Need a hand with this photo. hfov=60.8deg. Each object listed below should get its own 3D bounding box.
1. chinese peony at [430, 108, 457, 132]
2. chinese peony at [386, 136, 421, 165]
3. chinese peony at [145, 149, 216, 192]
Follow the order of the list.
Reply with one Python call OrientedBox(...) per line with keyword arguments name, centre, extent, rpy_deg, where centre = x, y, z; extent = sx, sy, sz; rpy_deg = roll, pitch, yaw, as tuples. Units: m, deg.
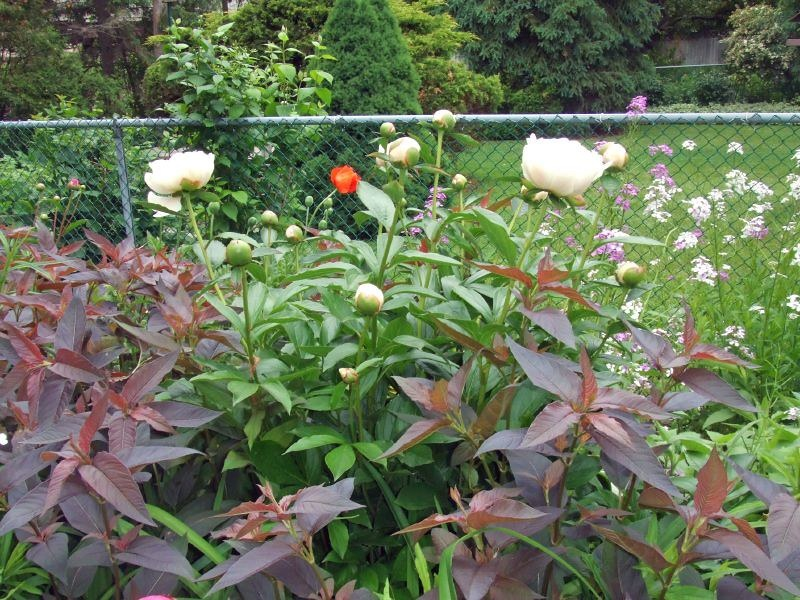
OrientedBox(name="chinese peony", centre=(0.099, -0.432, 1.652), extent=(0.059, 0.047, 0.064), rpy_deg=(12, 13, 30))
OrientedBox(name="chinese peony", centre=(0.013, -0.318, 1.498), extent=(0.068, 0.045, 0.061), rpy_deg=(23, -27, -35))
OrientedBox(name="chinese peony", centre=(-0.487, -0.270, 1.504), extent=(0.130, 0.064, 0.115), rpy_deg=(-24, 13, -37))
